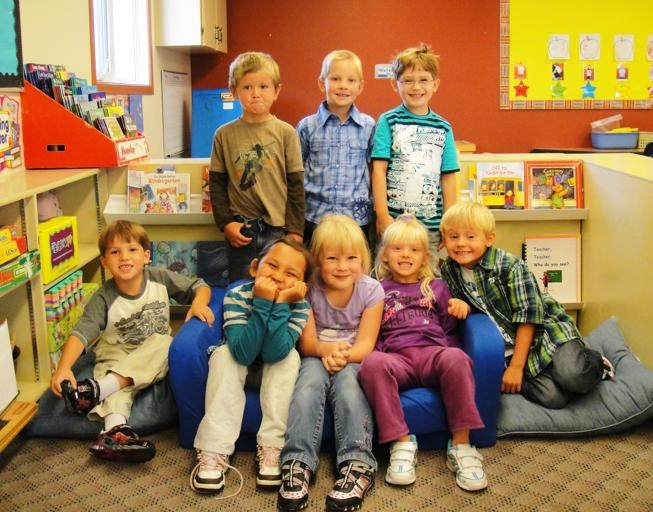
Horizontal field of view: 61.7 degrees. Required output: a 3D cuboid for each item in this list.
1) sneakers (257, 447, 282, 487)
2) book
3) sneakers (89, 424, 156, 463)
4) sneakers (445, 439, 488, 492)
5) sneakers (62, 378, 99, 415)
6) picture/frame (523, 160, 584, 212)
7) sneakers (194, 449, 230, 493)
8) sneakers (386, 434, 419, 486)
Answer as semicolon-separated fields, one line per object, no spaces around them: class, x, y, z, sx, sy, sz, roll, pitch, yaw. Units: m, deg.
sneakers;-0.194;0.707;1.817;0.055;0.068;0.160;0;0;-5
book;-1.038;-0.599;2.830;0.729;0.517;0.721;0;10;0
sneakers;-0.709;0.667;1.961;0.226;0.106;0.104;2;-32;8
sneakers;0.475;0.715;1.846;0.073;0.067;0.168;-5;4;-9
sneakers;-0.895;0.517;1.982;0.063;0.145;0.120;7;12;34
picture/frame;1.178;-0.348;2.821;0.269;0.255;0.037;-1;-6;3
sneakers;-0.389;0.717;1.804;0.067;0.078;0.171;2;-5;-7
sneakers;0.258;0.691;1.880;0.107;0.136;0.152;2;10;8
